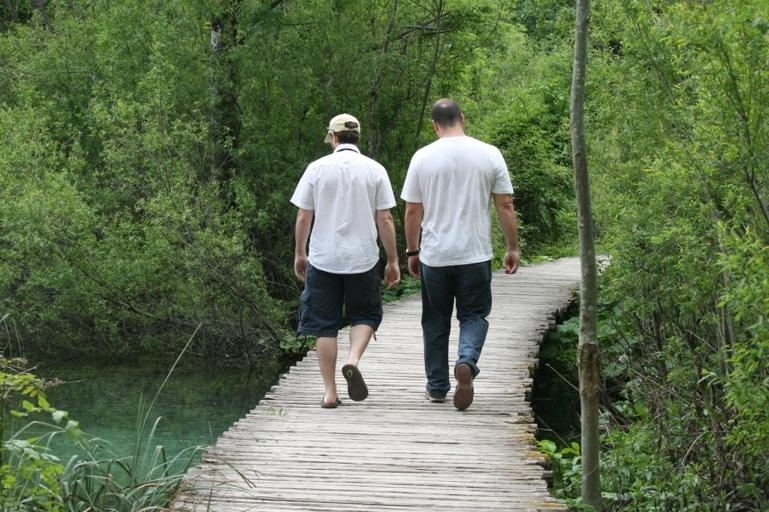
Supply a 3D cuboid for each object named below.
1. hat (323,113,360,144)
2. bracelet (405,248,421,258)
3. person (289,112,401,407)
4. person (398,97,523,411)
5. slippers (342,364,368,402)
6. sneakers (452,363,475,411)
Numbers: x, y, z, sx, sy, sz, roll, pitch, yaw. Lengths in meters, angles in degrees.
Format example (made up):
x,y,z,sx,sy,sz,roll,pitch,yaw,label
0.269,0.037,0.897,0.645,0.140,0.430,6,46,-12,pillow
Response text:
x,y,z,sx,sy,sz,roll,pitch,yaw,label
-0.369,-1.075,6.899,0.245,0.233,0.357,0,-2,-18,hat
0.235,-0.014,6.822,0.087,0.059,0.095,0,-2,6,bracelet
-0.320,0.061,6.707,0.869,2.350,0.771,-1,13,-8,person
0.579,-0.018,6.680,0.826,2.448,0.675,12,17,39,person
-0.247,1.018,6.653,0.161,0.337,0.126,-23,13,13,slippers
0.624,1.048,6.510,0.134,0.404,0.163,-2,24,5,sneakers
